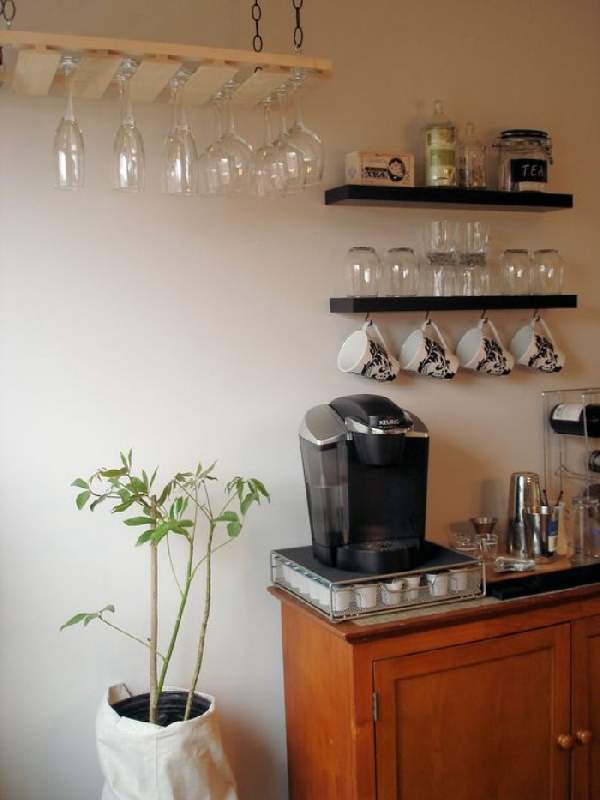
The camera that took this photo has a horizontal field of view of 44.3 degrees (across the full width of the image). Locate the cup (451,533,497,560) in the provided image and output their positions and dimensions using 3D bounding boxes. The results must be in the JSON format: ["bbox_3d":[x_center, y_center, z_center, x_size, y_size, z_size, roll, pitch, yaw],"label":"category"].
[{"bbox_3d":[0.483,0.406,2.044,0.106,0.066,0.064,-3,-3,2],"label":"cup"}]

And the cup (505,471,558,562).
[{"bbox_3d":[0.660,0.320,2.101,0.138,0.222,0.196,-1,6,5],"label":"cup"}]

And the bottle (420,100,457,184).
[{"bbox_3d":[0.389,-0.684,2.058,0.091,0.178,0.068,0,6,6],"label":"bottle"}]

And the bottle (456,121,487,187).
[{"bbox_3d":[0.500,-0.711,2.158,0.067,0.187,0.082,2,7,28],"label":"bottle"}]

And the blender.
[{"bbox_3d":[0.167,0.203,1.812,0.339,0.388,0.318,0,-1,-41],"label":"blender"}]

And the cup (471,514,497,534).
[{"bbox_3d":[0.524,0.350,2.111,0.064,0.052,0.066,-1,-1,0],"label":"cup"}]
